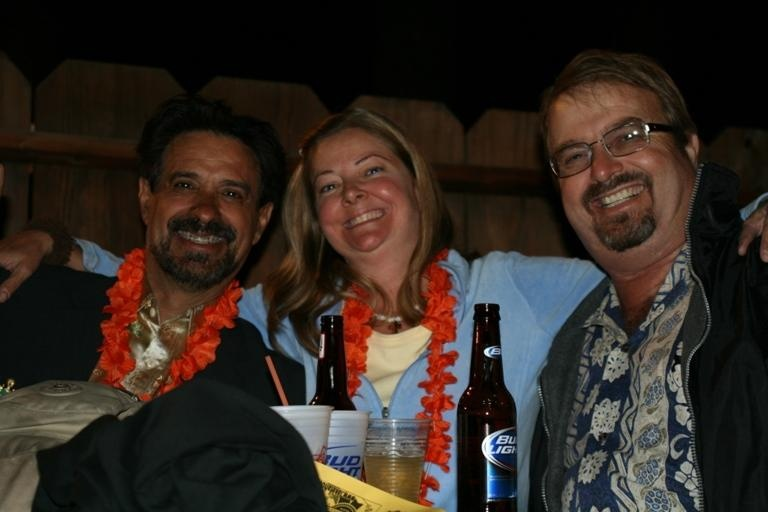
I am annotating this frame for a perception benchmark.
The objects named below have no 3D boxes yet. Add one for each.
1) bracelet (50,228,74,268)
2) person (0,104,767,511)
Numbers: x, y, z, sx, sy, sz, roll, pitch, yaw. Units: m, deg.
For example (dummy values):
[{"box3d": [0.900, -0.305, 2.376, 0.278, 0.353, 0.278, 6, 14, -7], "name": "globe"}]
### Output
[{"box3d": [-1.373, -0.034, 3.151, 0.144, 0.111, 0.052, -4, -8, 7], "name": "bracelet"}, {"box3d": [-0.062, 0.193, 2.707, 1.535, 0.743, 2.090, 2, -8, 4], "name": "person"}]
